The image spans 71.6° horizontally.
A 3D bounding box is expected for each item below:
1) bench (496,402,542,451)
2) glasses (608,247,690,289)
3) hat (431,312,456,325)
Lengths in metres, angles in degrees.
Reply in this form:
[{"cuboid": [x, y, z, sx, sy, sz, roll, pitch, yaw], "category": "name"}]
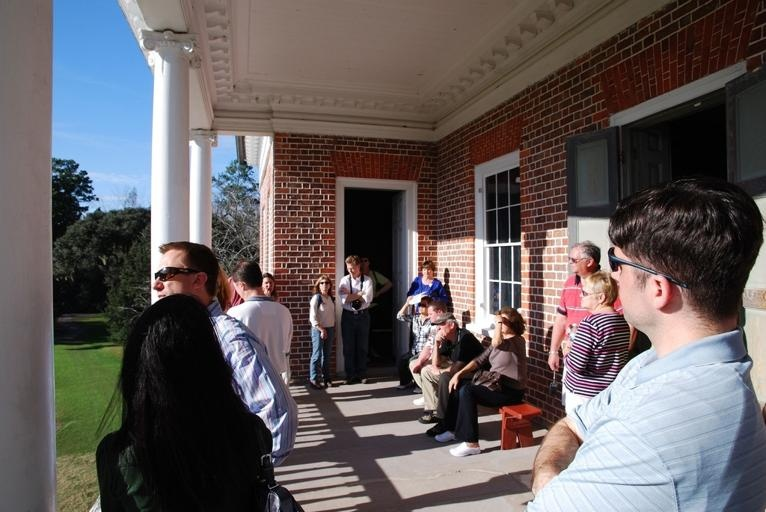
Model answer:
[{"cuboid": [1.478, 1.904, 5.752, 0.393, 0.387, 0.319, -5, -33, 21], "category": "bench"}, {"cuboid": [0.995, 0.050, 2.045, 0.192, 0.059, 0.154, 14, -12, 28], "category": "glasses"}, {"cuboid": [0.767, 0.741, 6.416, 0.219, 0.075, 0.143, -8, -7, -24], "category": "hat"}]
